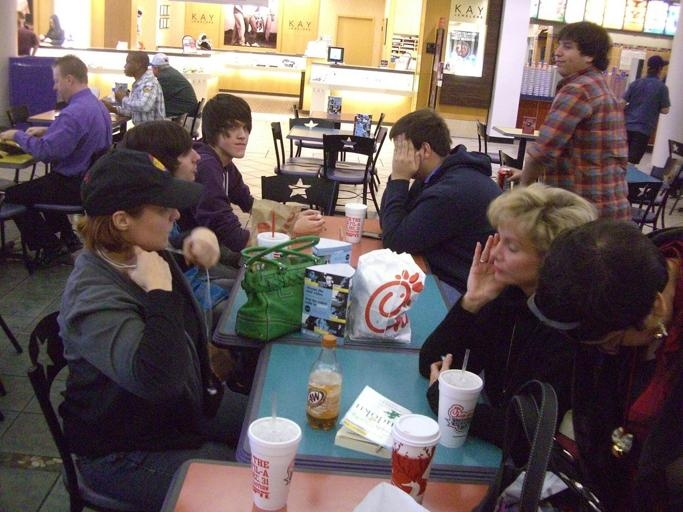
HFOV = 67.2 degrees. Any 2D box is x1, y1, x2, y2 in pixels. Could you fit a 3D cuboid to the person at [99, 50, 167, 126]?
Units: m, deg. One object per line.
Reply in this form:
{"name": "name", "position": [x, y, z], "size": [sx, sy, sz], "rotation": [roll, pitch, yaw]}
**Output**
{"name": "person", "position": [-2.670, -2.083, 6.831], "size": [0.786, 1.088, 0.595], "rotation": [1, 9, 33]}

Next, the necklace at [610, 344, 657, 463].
{"name": "necklace", "position": [0.597, 0.315, 1.139], "size": [0.071, 0.229, 0.158], "rotation": [9, -2, 13]}

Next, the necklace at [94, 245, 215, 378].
{"name": "necklace", "position": [-0.575, 0.172, 1.571], "size": [0.349, 0.372, 0.143], "rotation": [-4, 30, -10]}

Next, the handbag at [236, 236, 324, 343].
{"name": "handbag", "position": [-0.224, 0.103, 1.906], "size": [0.252, 0.353, 0.323], "rotation": [6, 13, 13]}

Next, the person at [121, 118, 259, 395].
{"name": "person", "position": [-0.671, -0.140, 3.196], "size": [0.877, 1.538, 0.625], "rotation": [14, 18, 10]}

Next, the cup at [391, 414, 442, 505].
{"name": "cup", "position": [0.169, 0.479, 1.185], "size": [0.112, 0.218, 0.088], "rotation": [0, 13, -14]}

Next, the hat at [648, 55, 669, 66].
{"name": "hat", "position": [4.908, -3.052, 8.013], "size": [0.154, 0.183, 0.509], "rotation": [14, 17, 40]}

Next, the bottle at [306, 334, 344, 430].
{"name": "bottle", "position": [-0.045, 0.356, 1.438], "size": [0.098, 0.224, 0.144], "rotation": [3, 13, 0]}

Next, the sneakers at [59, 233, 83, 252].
{"name": "sneakers", "position": [-2.253, -0.107, 4.298], "size": [0.139, 0.052, 0.220], "rotation": [9, 39, -50]}

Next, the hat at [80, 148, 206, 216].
{"name": "hat", "position": [-0.611, -0.207, 1.607], "size": [0.296, 0.156, 0.195], "rotation": [-10, 26, -13]}

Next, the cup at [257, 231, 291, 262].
{"name": "cup", "position": [-0.270, -0.047, 2.088], "size": [0.118, 0.098, 0.113], "rotation": [-1, 10, 0]}
